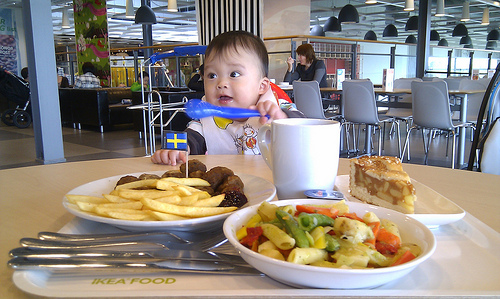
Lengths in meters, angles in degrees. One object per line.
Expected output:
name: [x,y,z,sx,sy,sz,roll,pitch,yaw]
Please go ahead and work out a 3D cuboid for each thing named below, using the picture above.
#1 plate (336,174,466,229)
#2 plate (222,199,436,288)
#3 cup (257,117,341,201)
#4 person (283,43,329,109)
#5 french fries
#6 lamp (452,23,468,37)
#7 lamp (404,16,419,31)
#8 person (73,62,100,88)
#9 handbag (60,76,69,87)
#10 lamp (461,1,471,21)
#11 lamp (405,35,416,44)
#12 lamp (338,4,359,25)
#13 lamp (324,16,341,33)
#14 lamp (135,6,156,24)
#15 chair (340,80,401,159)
plate: [0.378,0.099,0.757,0.127,0.034,0.164,5,17,-28]
plate: [0.139,0.169,0.600,0.356,0.094,0.210,-3,12,-14]
cup: [0.057,0.016,0.754,0.146,0.182,0.222,-4,4,-36]
person: [0.920,-1.163,5.265,0.590,0.861,0.553,-13,15,-36]
french fries: [-0.214,0.097,0.730,0.378,0.058,0.199,0,11,1]
lamp: [6.775,-3.843,10.661,0.509,0.377,0.308,-8,14,-31]
lamp: [4.505,-3.504,9.191,0.288,0.440,0.624,5,13,21]
person: [-3.964,-1.843,8.052,0.496,0.668,2.615,-6,13,-24]
handbag: [-4.710,-1.727,8.460,0.175,0.272,1.788,-7,13,-28]
lamp: [6.379,-4.077,9.761,0.169,0.535,0.488,7,14,30]
lamp: [5.817,-3.959,11.914,0.284,0.313,0.691,5,13,22]
lamp: [2.475,-3.295,8.235,0.530,0.465,0.519,-12,17,-41]
lamp: [2.424,-3.678,9.656,0.474,0.427,0.645,2,12,10]
lamp: [-2.340,-3.066,7.639,0.465,0.364,0.439,2,6,13]
chair: [1.556,-0.376,4.120,0.522,0.960,1.062,12,17,43]
